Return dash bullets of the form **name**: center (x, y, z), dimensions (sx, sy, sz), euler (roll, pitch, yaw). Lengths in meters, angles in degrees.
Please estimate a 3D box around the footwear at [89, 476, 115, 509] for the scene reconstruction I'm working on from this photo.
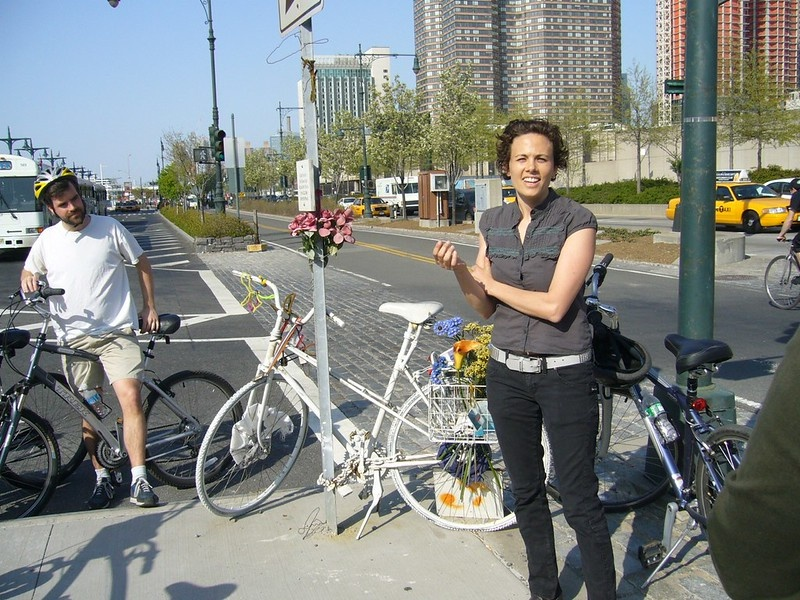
- **footwear**: center (-2.084, 1.361, 4.243), dimensions (0.103, 0.123, 0.271), euler (5, -9, -11)

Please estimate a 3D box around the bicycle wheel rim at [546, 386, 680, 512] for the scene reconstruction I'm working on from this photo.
- **bicycle wheel rim**: center (1.221, 0.864, 3.451), dimensions (0.726, 0.766, 0.173), euler (16, -17, -8)

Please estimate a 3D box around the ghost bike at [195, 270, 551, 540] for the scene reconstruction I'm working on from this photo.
- **ghost bike**: center (-0.211, 0.659, 3.992), dimensions (2.234, 1.685, 1.027), euler (0, 11, 7)

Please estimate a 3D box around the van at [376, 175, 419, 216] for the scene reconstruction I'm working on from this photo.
- **van**: center (-0.070, -8.634, 49.273), dimensions (2.795, 2.897, 4.740), euler (-4, 9, -25)

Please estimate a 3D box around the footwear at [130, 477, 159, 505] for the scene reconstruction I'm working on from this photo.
- **footwear**: center (-1.709, 1.285, 4.054), dimensions (0.109, 0.120, 0.247), euler (7, -8, -33)

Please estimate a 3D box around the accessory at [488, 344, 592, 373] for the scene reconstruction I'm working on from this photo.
- **accessory**: center (0.671, 0.295, 2.925), dimensions (0.473, 0.098, 0.143), euler (1, 10, 15)

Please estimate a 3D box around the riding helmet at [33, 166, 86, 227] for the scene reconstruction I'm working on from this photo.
- **riding helmet**: center (-2.350, -0.704, 4.207), dimensions (0.308, 0.431, 0.270), euler (-7, 11, -31)

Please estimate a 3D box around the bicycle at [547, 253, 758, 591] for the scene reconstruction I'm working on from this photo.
- **bicycle**: center (1.516, 0.673, 4.048), dimensions (0.944, 1.265, 1.952), euler (-6, 12, -26)

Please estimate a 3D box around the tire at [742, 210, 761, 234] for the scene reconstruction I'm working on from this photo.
- **tire**: center (12.441, -2.746, 21.484), dimensions (0.308, 0.760, 0.914), euler (-3, 9, -9)

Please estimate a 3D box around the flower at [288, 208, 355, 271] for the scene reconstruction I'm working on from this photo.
- **flower**: center (-0.454, -0.423, 3.597), dimensions (0.333, 0.347, 0.334), euler (-28, 25, -21)

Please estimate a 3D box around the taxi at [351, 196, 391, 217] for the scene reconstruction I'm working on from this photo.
- **taxi**: center (-2.114, -7.093, 46.333), dimensions (2.781, 1.458, 5.193), euler (-2, 9, -1)
